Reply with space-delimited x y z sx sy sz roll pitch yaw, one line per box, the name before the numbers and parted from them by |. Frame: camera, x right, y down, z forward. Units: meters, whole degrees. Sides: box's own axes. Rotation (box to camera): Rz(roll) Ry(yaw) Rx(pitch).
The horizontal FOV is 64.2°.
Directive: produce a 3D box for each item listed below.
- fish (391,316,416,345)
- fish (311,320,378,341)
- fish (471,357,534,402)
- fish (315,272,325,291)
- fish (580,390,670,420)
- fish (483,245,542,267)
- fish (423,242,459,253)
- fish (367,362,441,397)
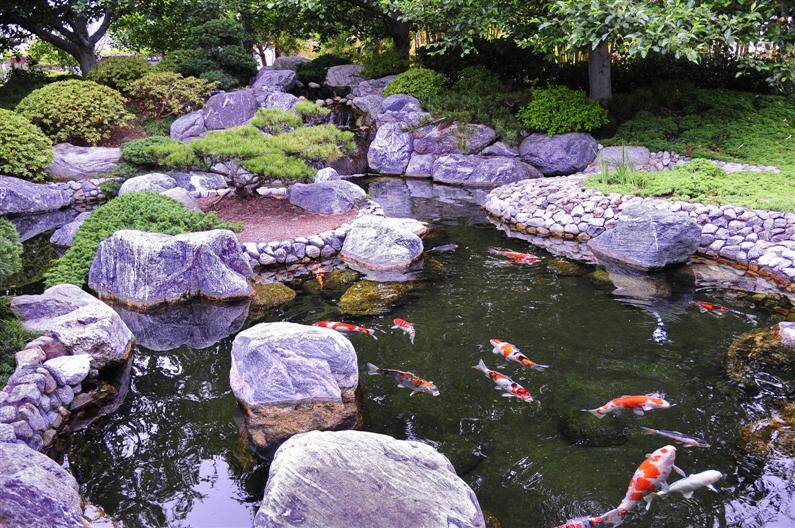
fish | 0.136 1.230 11.799 0.349 0.177 0.473 1 12 -24
fish | -0.939 1.177 11.307 0.779 0.173 0.261 7 -13 6
fish | 1.759 1.924 10.632 0.921 0.318 0.371 25 -1 43
fish | -1.649 0.338 13.609 0.165 0.133 0.440 -1 34 -7
fish | 3.685 2.281 10.236 1.058 0.333 0.233 -5 16 8
fish | 2.648 -0.200 14.427 1.221 0.144 0.854 18 31 35
fish | 1.033 -0.400 15.015 0.595 0.098 0.229 -6 9 -2
fish | 0.119 1.970 10.864 1.106 0.439 0.434 19 50 22
